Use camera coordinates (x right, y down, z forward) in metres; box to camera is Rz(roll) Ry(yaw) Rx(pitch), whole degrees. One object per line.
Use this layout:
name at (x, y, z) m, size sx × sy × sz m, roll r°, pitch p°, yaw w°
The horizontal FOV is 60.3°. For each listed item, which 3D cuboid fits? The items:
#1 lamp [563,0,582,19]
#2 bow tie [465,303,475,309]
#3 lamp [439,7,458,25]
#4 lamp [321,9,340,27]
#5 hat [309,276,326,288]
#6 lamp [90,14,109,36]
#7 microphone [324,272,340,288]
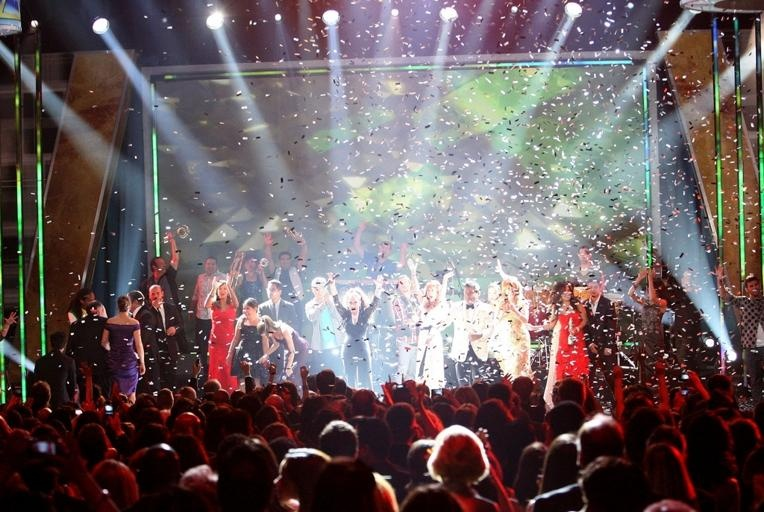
lamp at (2.776, -3.547, 9.548) m, size 0.241 × 0.130 × 0.315 m, roll -9°, pitch -17°, yaw 18°
bow tie at (1.199, 0.692, 9.014) m, size 0.115 × 0.072 × 0.026 m, roll -11°, pitch -18°, yaw 23°
lamp at (0.976, -3.545, 9.714) m, size 0.254 × 0.117 × 0.327 m, roll -5°, pitch -16°, yaw 5°
lamp at (-0.765, -3.522, 9.694) m, size 0.167 × 0.167 × 0.172 m, roll 0°, pitch 18°, yaw 16°
hat at (-0.986, 0.415, 10.144) m, size 0.190 × 0.146 × 0.191 m, roll -1°, pitch -13°, yaw -38°
lamp at (-4.294, -3.498, 10.050) m, size 0.372 × 0.199 × 0.199 m, roll -11°, pitch -18°, yaw 24°
microphone at (-0.819, 0.346, 10.244) m, size 0.193 × 0.183 × 0.064 m, roll -1°, pitch -31°, yaw 27°
